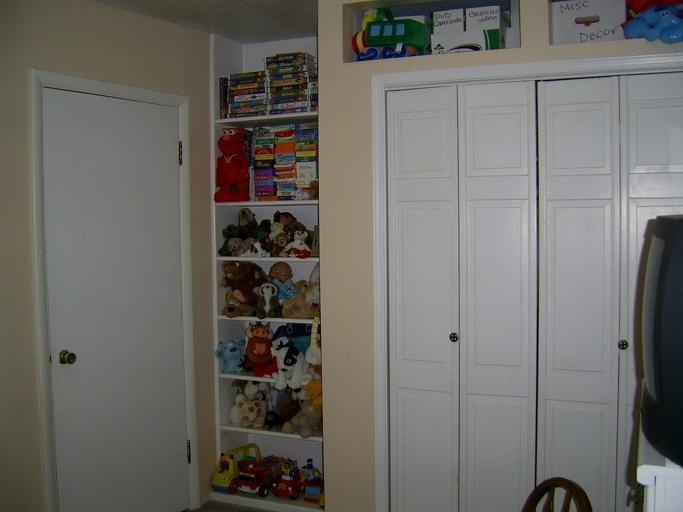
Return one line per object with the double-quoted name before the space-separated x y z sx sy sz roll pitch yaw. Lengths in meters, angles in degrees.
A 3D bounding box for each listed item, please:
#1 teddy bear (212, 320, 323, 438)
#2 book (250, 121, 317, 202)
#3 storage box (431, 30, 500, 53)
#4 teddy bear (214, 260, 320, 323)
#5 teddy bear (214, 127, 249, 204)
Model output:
"teddy bear" -0.434 0.800 3.645 0.742 0.710 0.297 0 0 38
"book" -0.338 -0.572 3.794 0.554 0.607 0.437 0 -3 16
"storage box" 0.695 -1.206 3.064 0.374 0.129 0.043 0 0 14
"teddy bear" -0.468 0.218 3.628 0.739 0.382 0.182 0 0 18
"teddy bear" -0.742 -0.603 3.645 0.249 0.483 0.088 0 0 18
